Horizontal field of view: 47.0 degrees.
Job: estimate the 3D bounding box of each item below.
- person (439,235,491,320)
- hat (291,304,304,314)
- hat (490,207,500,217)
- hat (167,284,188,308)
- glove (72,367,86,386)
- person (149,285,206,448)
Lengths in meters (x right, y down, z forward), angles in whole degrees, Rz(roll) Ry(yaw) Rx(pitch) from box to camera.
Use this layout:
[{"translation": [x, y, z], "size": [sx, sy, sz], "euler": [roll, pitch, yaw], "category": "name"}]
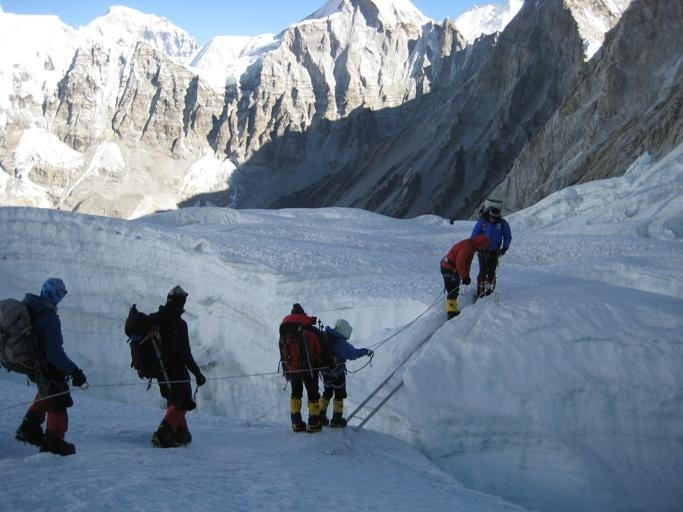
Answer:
[{"translation": [2.754, 0.480, 17.785], "size": [0.972, 1.881, 0.807], "euler": [0, 2, 1], "category": "person"}, {"translation": [-0.888, 1.049, 15.869], "size": [0.165, 0.161, 0.241], "euler": [0, 3, -6], "category": "hat"}, {"translation": [3.576, -1.006, 18.099], "size": [0.276, 0.214, 0.122], "euler": [-2, 2, -31], "category": "hat"}, {"translation": [-3.202, 0.764, 15.215], "size": [0.357, 0.387, 0.427], "euler": [4, 8, -4], "category": "hat"}, {"translation": [-4.977, 2.295, 14.886], "size": [0.247, 0.361, 0.138], "euler": [-13, -21, -17], "category": "glove"}, {"translation": [-3.206, 2.110, 15.173], "size": [0.941, 3.099, 0.581], "euler": [-1, 2, -18], "category": "person"}]
